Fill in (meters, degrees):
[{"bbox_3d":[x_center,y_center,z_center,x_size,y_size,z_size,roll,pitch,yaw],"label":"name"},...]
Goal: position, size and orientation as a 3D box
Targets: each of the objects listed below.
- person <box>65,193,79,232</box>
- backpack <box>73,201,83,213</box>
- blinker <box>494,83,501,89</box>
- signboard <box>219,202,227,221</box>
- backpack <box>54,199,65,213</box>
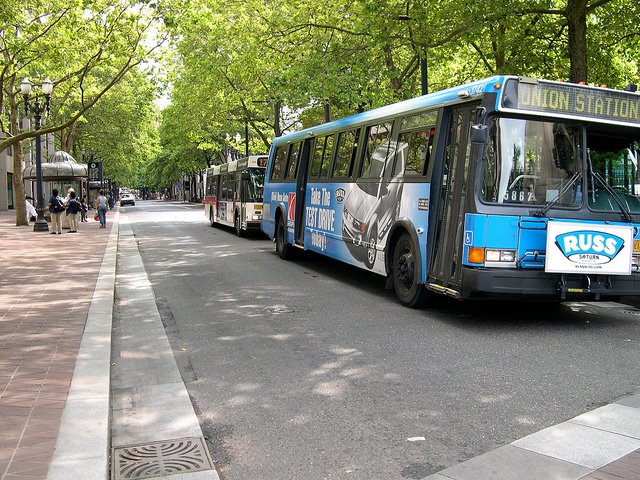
[{"bbox_3d":[-12.603,-1.387,24.370,0.645,1.951,1.349,-3,5,-36],"label":"person"},{"bbox_3d":[-12.579,-1.716,24.565,0.492,0.675,0.450,-2,3,-5],"label":"backpack"},{"bbox_3d":[2.614,-2.251,7.065,0.078,0.083,0.019,1,5,16],"label":"blinker"},{"bbox_3d":[-5.549,-1.620,27.354,0.072,1.145,1.054,1,-2,-28],"label":"signboard"},{"bbox_3d":[-12.450,-1.618,22.867,0.288,0.619,0.621,0,4,1],"label":"backpack"}]
